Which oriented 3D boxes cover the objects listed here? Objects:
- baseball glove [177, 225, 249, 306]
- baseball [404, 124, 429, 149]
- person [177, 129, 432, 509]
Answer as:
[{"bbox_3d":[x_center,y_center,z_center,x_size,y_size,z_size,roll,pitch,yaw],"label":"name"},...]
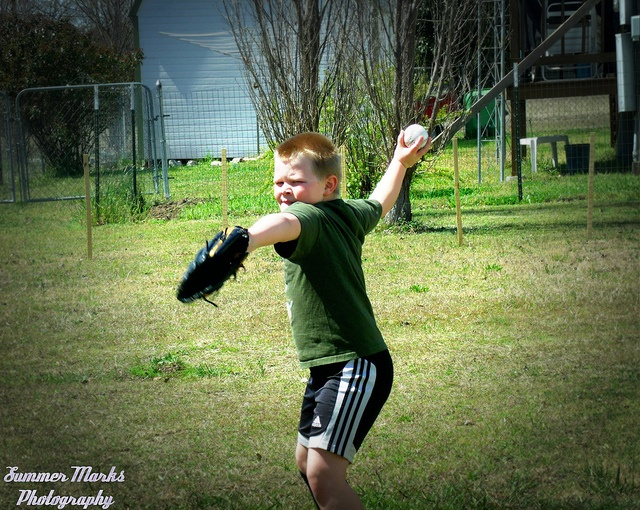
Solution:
[{"bbox_3d":[-0.459,0.049,3.239,0.237,0.381,0.182,38,-6,-29],"label":"baseball glove"},{"bbox_3d":[0.514,-0.645,4.008,0.117,0.127,0.121,7,6,32],"label":"baseball"},{"bbox_3d":[0.030,0.259,3.499,0.670,1.650,1.298,7,14,37],"label":"person"}]
